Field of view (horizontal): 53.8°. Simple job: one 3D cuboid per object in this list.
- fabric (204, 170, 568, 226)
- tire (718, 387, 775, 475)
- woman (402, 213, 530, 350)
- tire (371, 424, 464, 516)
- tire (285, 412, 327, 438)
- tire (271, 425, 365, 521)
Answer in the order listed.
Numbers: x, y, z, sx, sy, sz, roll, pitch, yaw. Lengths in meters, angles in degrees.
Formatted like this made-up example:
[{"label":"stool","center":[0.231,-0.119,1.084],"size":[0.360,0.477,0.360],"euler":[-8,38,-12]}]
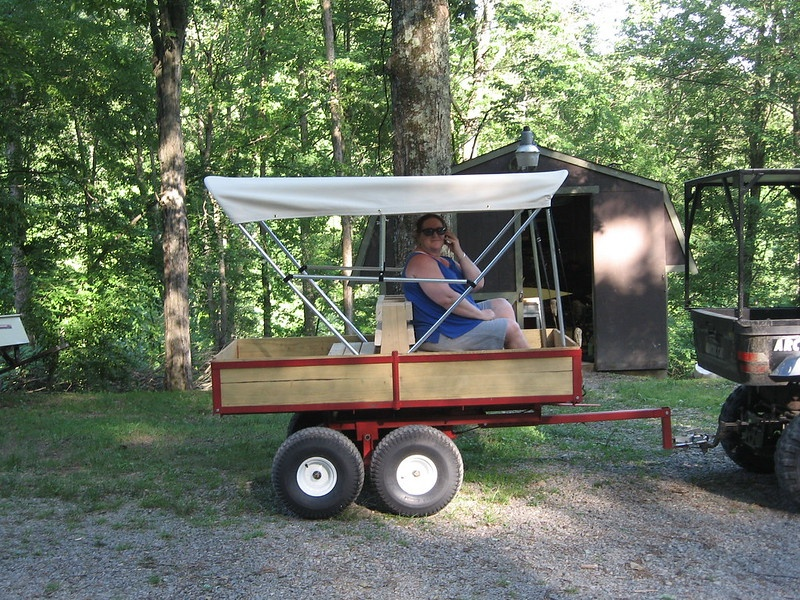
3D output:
[{"label":"fabric","center":[-0.215,-1.114,8.467],"size":[3.649,0.570,0.226],"euler":[0,1,-1]},{"label":"tire","center":[4.007,1.521,9.105],"size":[0.901,0.922,0.323],"euler":[9,9,-5]},{"label":"woman","center":[0.876,-0.085,9.236],"size":[1.687,1.897,0.985],"euler":[-3,3,3]},{"label":"tire","center":[0.166,1.848,8.508],"size":[0.937,0.933,0.303],"euler":[1,-3,1]},{"label":"tire","center":[-1.118,1.435,9.281],"size":[0.336,0.114,0.346],"euler":[-11,-9,33]},{"label":"tire","center":[-0.871,1.899,8.525],"size":[0.942,0.965,0.306],"euler":[1,1,1]}]
